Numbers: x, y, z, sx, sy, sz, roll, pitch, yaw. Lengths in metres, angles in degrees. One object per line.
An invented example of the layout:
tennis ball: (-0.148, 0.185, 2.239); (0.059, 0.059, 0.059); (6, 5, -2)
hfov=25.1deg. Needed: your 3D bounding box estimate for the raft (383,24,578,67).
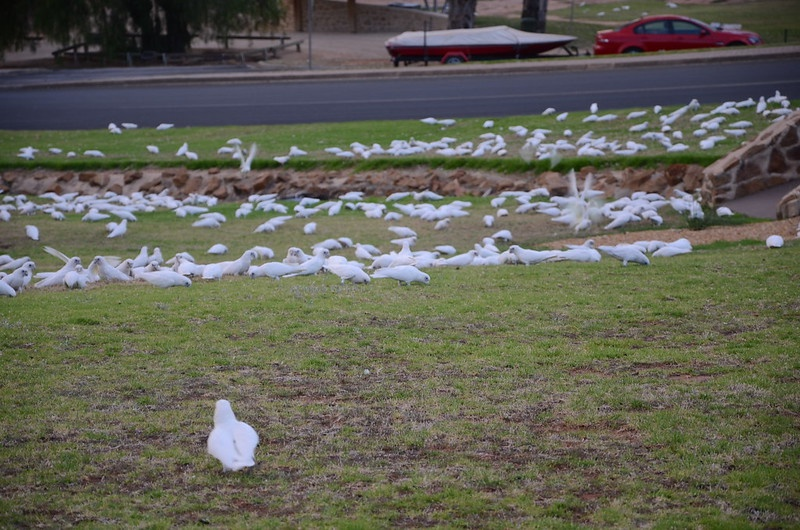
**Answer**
raft: (3.247, -9.973, 82.817); (7.722, 1.811, 2.054); (1, 13, 2)
